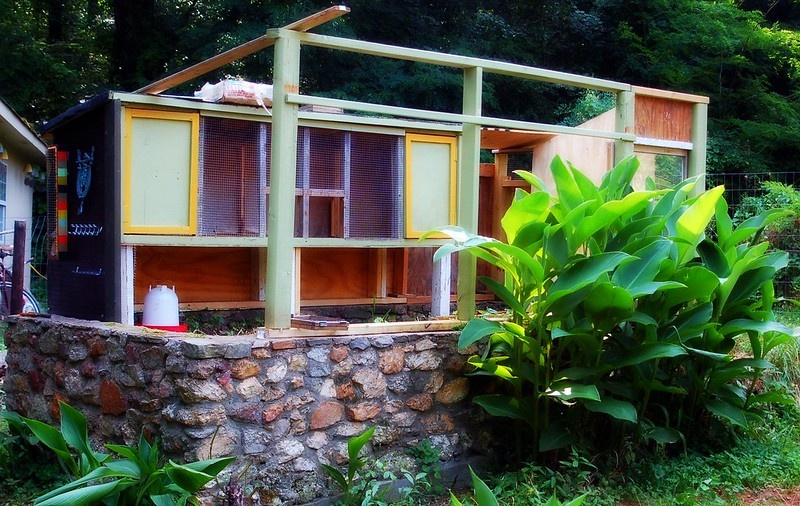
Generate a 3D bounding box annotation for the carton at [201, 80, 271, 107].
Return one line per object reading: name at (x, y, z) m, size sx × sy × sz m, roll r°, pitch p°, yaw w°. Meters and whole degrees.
carton at (-1.746, -1.634, 6.877) m, size 0.787 × 0.177 × 0.343 m, roll 0°, pitch 0°, yaw -1°

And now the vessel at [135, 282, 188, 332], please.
vessel at (-2.375, 0.567, 6.576) m, size 0.510 × 0.509 × 0.519 m, roll 3°, pitch 1°, yaw 20°

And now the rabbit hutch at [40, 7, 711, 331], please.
rabbit hutch at (-0.835, -0.625, 6.979) m, size 5.722 × 2.104 × 3.304 m, roll 0°, pitch 0°, yaw -19°
